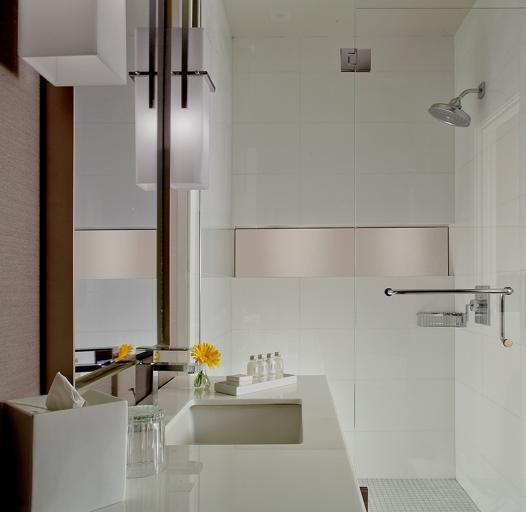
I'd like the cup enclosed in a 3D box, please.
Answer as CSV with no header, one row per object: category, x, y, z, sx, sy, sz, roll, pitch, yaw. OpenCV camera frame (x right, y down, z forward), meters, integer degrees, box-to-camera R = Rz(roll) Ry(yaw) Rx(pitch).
cup,-0.206,0.334,0.968,0.083,0.082,0.106,-1,-89,-41

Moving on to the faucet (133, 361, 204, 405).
faucet,-0.276,0.393,1.592,0.112,0.082,0.102,0,-90,1

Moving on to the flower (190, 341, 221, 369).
flower,-0.191,0.344,1.763,0.081,0.095,0.038,16,-44,-8
